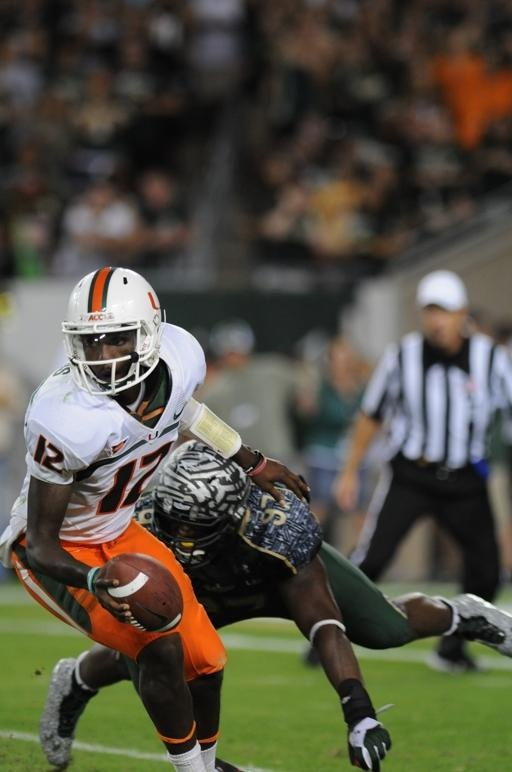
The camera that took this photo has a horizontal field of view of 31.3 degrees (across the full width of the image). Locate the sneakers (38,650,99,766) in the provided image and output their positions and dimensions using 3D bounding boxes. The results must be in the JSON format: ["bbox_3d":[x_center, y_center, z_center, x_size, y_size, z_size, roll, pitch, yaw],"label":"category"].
[{"bbox_3d":[-0.551,0.937,2.668,0.161,0.301,0.112,-15,-36,27],"label":"sneakers"}]

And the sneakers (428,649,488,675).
[{"bbox_3d":[0.842,1.161,3.873,0.265,0.098,0.078,-1,6,7],"label":"sneakers"}]

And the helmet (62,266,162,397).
[{"bbox_3d":[-0.371,-0.145,2.312,0.206,0.352,0.262,-1,-8,9],"label":"helmet"}]

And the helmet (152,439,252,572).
[{"bbox_3d":[-0.157,0.335,2.503,0.273,0.324,0.265,24,-39,7],"label":"helmet"}]
